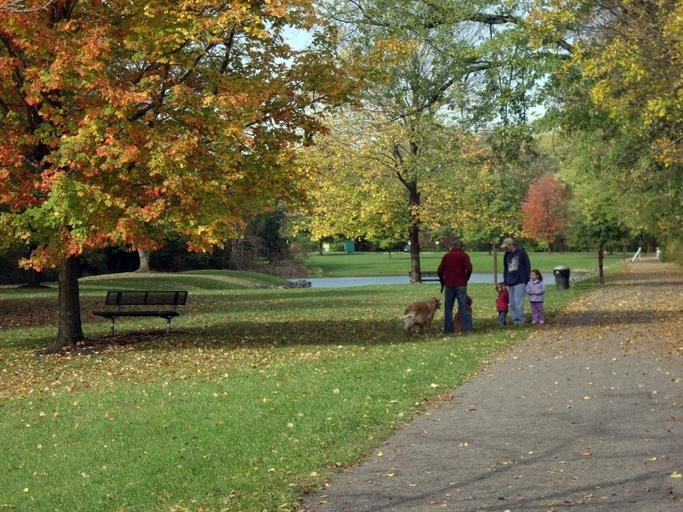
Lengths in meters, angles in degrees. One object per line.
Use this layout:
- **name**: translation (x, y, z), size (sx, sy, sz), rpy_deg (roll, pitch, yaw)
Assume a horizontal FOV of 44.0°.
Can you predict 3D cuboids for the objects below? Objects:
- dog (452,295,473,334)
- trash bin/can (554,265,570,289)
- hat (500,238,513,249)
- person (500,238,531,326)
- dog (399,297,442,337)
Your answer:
- **dog**: translation (3.095, 1.516, 21.664), size (0.272, 0.937, 0.605), rpy_deg (9, -23, 35)
- **trash bin/can**: translation (9.354, 0.974, 35.812), size (0.582, 1.022, 1.423), rpy_deg (0, 11, 16)
- **hat**: translation (4.340, -0.337, 21.821), size (0.358, 0.187, 0.253), rpy_deg (-21, 13, -25)
- **person**: translation (4.602, 0.689, 22.096), size (0.711, 2.397, 1.081), rpy_deg (-2, 12, 11)
- **dog**: translation (2.188, 1.553, 21.606), size (1.292, 0.753, 0.436), rpy_deg (-10, -13, 44)
